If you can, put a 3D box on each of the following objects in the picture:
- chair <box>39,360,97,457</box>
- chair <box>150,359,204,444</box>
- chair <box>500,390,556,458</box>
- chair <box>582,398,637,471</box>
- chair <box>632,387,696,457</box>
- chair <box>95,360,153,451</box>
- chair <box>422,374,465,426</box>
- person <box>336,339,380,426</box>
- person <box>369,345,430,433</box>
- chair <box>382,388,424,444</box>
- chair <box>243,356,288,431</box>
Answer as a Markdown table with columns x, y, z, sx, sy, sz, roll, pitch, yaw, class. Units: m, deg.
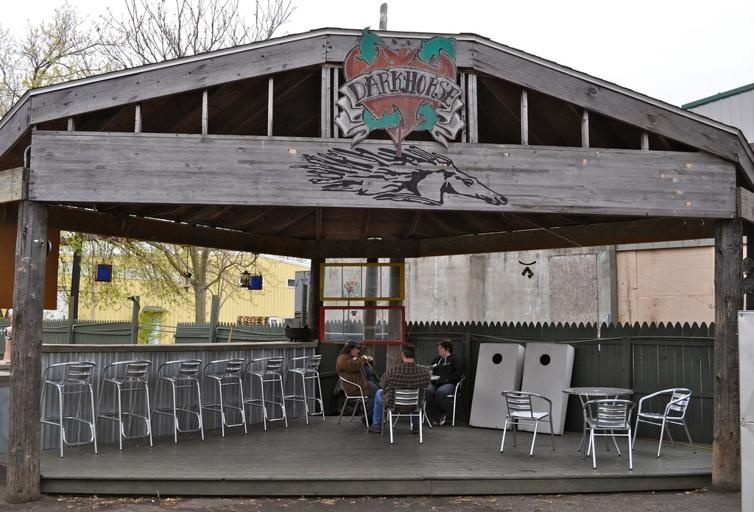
| x | y | z | sx | sy | sz | roll | pitch | yaw | class |
| --- | --- | --- | --- | --- | --- | --- | --- | --- | --- |
| -5.326 | 2.622 | 23.772 | 0.967 | 1.617 | 0.773 | 0 | -5 | -16 | chair |
| -3.621 | 2.551 | 24.870 | 0.949 | 1.445 | 0.953 | 1 | -2 | 18 | chair |
| 2.648 | 2.847 | 24.264 | 0.810 | 1.152 | 0.856 | 2 | 5 | 26 | chair |
| 3.983 | 2.986 | 23.376 | 0.834 | 1.298 | 0.972 | 1 | -10 | -1 | chair |
| 5.024 | 2.843 | 24.091 | 1.009 | 1.116 | 1.062 | 2 | 0 | 14 | chair |
| -4.411 | 2.588 | 24.237 | 1.026 | 1.564 | 0.705 | 1 | -5 | -24 | chair |
| 1.284 | 2.652 | 26.245 | 0.664 | 1.175 | 0.811 | -7 | -17 | 32 | chair |
| -0.300 | 2.339 | 25.715 | 0.778 | 1.549 | 0.687 | -5 | 0 | 17 | person |
| 0.477 | 2.409 | 25.073 | 1.090 | 1.761 | 1.295 | -5 | 10 | -33 | person |
| 0.498 | 2.731 | 24.686 | 0.642 | 1.163 | 0.826 | 0 | 0 | -10 | chair |
| -2.160 | 2.487 | 25.883 | 0.687 | 1.317 | 0.768 | -1 | 5 | -43 | chair |
